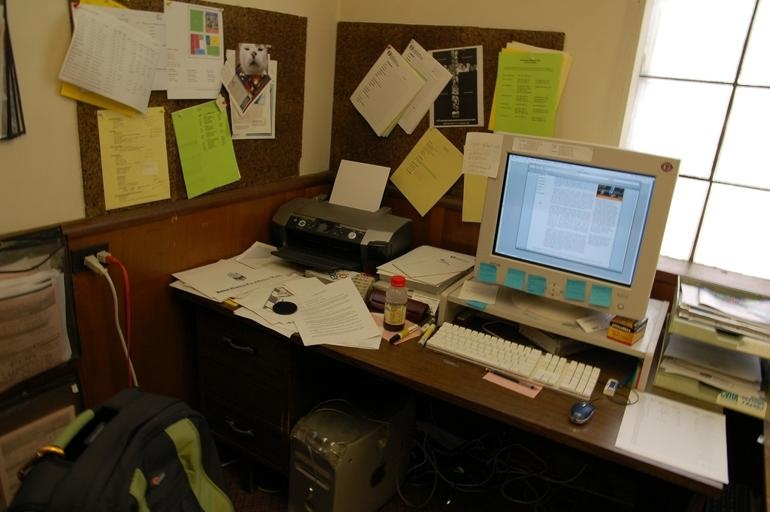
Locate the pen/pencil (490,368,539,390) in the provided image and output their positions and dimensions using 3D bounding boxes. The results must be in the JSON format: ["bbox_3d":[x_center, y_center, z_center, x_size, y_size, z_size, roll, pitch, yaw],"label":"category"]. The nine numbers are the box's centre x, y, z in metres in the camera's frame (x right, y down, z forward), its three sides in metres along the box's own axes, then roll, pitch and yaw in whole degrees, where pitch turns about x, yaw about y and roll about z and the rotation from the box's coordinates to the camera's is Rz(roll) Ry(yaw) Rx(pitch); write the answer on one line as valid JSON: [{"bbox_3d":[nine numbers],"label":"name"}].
[{"bbox_3d":[0.411,0.402,1.866,0.158,0.017,0.018,14,23,19],"label":"pen/pencil"}]

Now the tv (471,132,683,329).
[{"bbox_3d":[0.637,-0.068,1.953,0.556,0.498,0.294,16,25,17],"label":"tv"}]
